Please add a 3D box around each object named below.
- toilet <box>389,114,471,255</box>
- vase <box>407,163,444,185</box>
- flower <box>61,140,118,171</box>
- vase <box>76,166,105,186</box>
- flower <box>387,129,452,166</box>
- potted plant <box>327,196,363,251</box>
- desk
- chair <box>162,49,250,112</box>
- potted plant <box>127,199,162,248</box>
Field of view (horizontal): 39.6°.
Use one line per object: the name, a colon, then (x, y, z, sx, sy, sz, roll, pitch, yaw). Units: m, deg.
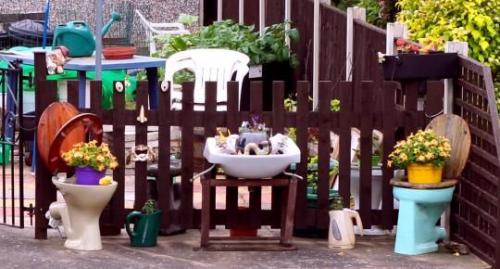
toilet: (2.228, 0.578, 9.006, 0.935, 1.785, 0.877, 1, -1, -25)
vase: (2.177, 0.474, 8.718, 0.423, 0.255, 0.200, 0, 2, 9)
flower: (-2.026, 0.258, 8.776, 0.706, 0.383, 0.391, 0, 2, -14)
vase: (-2.015, 0.508, 8.644, 0.247, 0.154, 0.252, -1, -4, 27)
flower: (2.098, 0.186, 8.899, 0.750, 0.384, 0.606, -6, 3, -17)
potted plant: (1.171, 1.183, 8.888, 0.610, 0.656, 0.406, 1, -4, 4)
desk: (-2.321, -0.309, 9.625, 1.950, 1.199, 1.917, -3, 7, -43)
chair: (-0.641, -0.906, 10.610, 1.236, 0.817, 0.507, 0, 2, -1)
potted plant: (-1.365, 1.123, 8.940, 0.443, 0.583, 0.227, 0, 2, -7)
